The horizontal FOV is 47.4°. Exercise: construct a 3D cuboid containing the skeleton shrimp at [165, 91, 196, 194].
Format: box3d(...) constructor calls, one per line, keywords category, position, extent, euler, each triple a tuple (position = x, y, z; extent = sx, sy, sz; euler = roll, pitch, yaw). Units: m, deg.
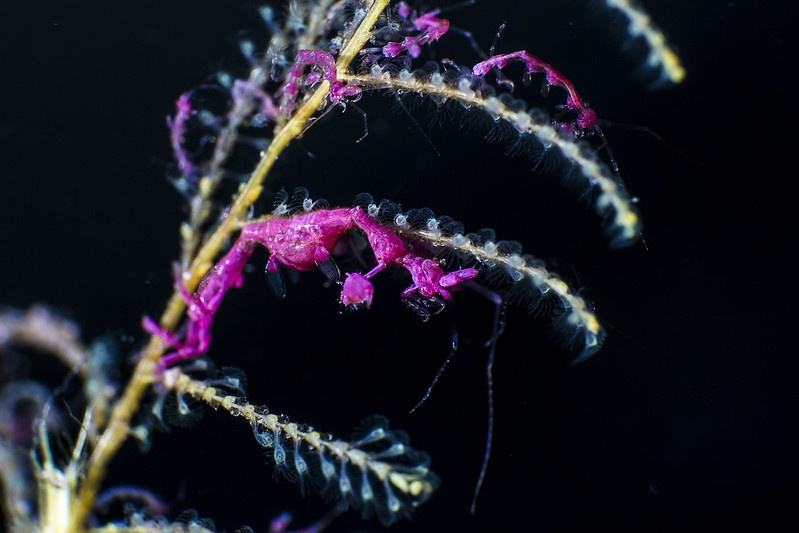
box3d(category="skeleton shrimp", position=(-0.575, -0.331, 2.417), extent=(0.059, 0.253, 0.110), euler=(-2, 20, -32))
